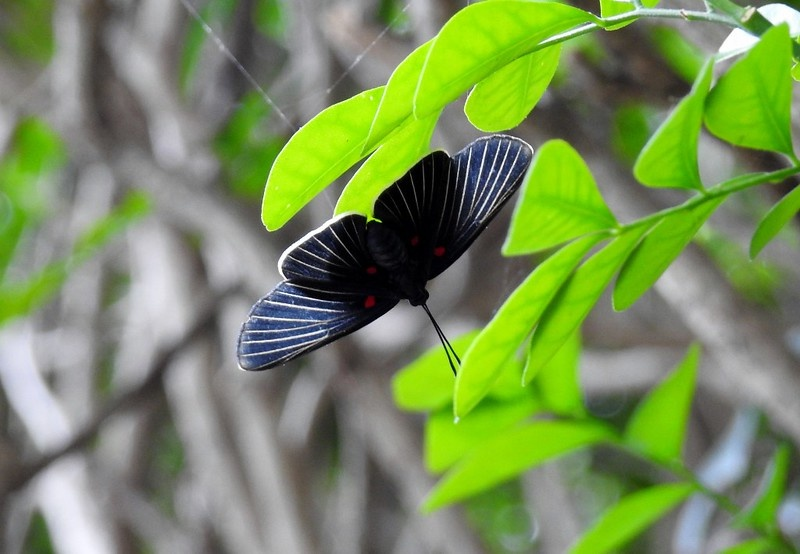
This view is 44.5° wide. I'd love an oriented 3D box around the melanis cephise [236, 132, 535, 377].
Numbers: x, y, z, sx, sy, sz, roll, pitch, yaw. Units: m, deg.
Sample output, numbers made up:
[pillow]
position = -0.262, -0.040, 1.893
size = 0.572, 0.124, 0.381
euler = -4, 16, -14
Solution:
[melanis cephise]
position = 0.003, -0.014, 1.231
size = 0.421, 0.111, 0.247
euler = -33, 64, -5
